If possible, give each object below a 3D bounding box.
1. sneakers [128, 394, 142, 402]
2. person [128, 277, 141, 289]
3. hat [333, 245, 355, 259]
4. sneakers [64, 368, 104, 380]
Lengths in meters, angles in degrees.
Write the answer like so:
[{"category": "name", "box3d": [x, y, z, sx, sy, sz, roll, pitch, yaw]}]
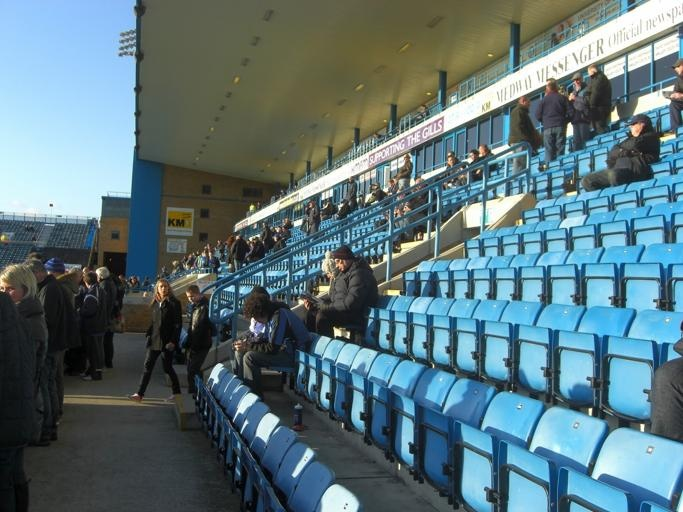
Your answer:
[{"category": "sneakers", "box3d": [-2.593, 1.780, 7.817, 0.172, 0.081, 0.082, 0, -8, 34]}, {"category": "person", "box3d": [-9.155, 1.156, 27.472, 0.389, 0.592, 0.994, 3, -7, -7]}, {"category": "hat", "box3d": [0.035, -0.055, 7.570, 0.166, 0.114, 0.171, 0, 7, -29]}, {"category": "sneakers", "box3d": [-3.795, 1.729, 9.147, 0.353, 0.166, 0.124, 6, -13, 5]}]
